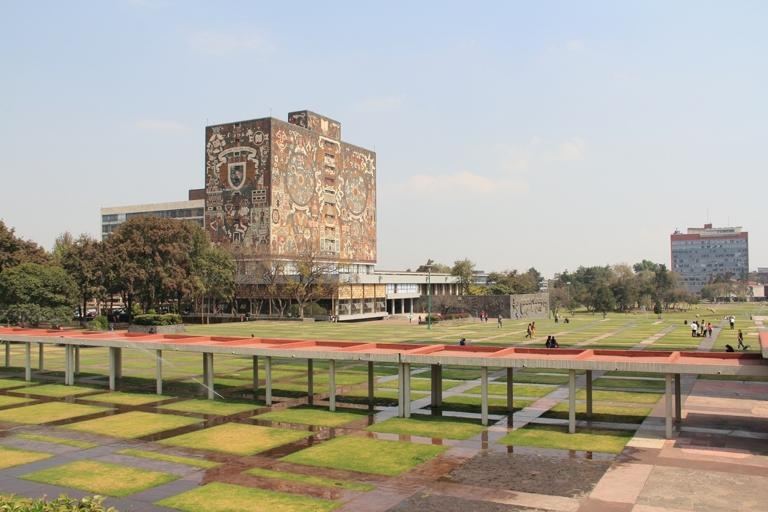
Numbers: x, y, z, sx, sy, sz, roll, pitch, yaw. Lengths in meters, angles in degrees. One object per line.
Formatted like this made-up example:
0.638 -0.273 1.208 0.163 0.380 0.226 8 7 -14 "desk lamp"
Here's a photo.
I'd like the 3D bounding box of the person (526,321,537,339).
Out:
19.218 9.747 101.309 1.209 2.511 1.438 -5 39 11 "person"
